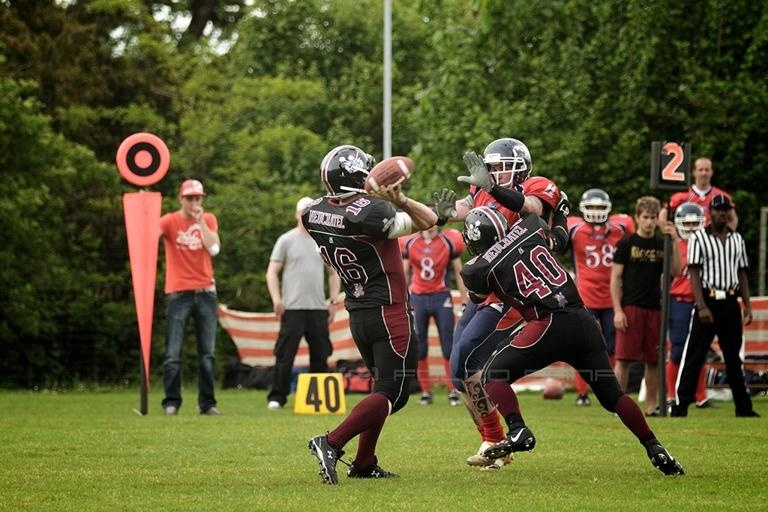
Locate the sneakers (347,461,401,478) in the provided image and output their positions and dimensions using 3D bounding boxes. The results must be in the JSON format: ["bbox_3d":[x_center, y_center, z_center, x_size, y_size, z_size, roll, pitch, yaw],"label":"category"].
[{"bbox_3d":[-0.117,2.500,15.481,0.671,0.261,0.214,1,-3,-1],"label":"sneakers"}]

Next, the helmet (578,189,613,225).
[{"bbox_3d":[3.123,-0.716,19.573,0.423,0.432,0.540,0,0,5],"label":"helmet"}]

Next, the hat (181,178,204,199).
[{"bbox_3d":[-2.721,-0.934,18.587,0.296,0.215,0.401,1,8,-16],"label":"hat"}]

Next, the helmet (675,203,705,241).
[{"bbox_3d":[4.306,-0.508,18.615,0.413,0.451,0.510,0,4,6],"label":"helmet"}]

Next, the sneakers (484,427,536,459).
[{"bbox_3d":[1.459,2.208,15.475,0.566,0.190,0.291,-19,26,-4],"label":"sneakers"}]

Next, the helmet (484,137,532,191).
[{"bbox_3d":[1.471,-1.138,16.048,0.493,0.491,0.642,-9,3,28],"label":"helmet"}]

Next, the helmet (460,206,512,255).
[{"bbox_3d":[1.146,-0.330,15.576,0.470,0.564,0.576,-13,22,-32],"label":"helmet"}]

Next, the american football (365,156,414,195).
[{"bbox_3d":[0.039,-0.945,15.416,0.546,0.328,0.339,-27,7,-8],"label":"american football"}]

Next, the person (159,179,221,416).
[{"bbox_3d":[-2.725,0.603,18.457,0.833,3.275,0.434,-2,-3,-11],"label":"person"}]

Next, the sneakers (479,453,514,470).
[{"bbox_3d":[1.359,2.485,15.835,0.439,0.178,0.144,1,2,-41],"label":"sneakers"}]
